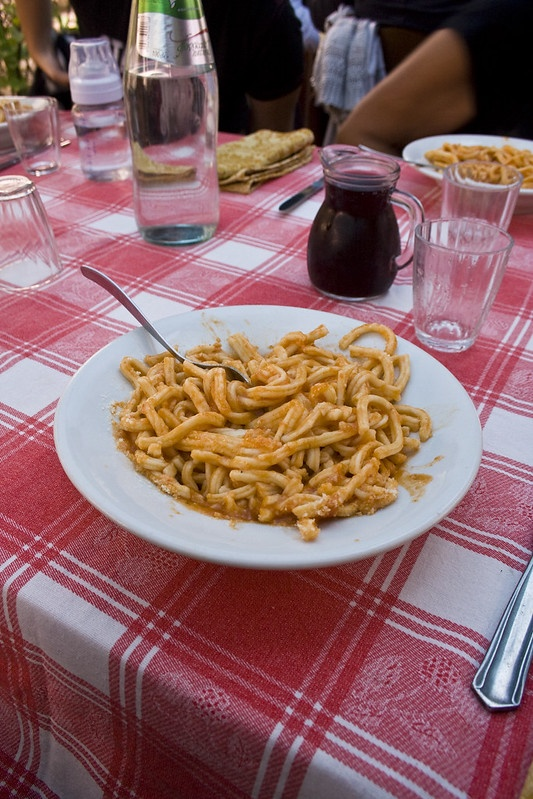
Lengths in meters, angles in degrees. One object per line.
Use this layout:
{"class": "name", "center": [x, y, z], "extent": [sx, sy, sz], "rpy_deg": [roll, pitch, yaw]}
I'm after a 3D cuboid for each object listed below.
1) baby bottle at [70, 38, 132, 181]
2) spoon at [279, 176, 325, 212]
{"class": "baby bottle", "center": [-0.315, -0.545, 1.248], "extent": [0.112, 0.245, 0.107], "rpy_deg": [1, 28, 0]}
{"class": "spoon", "center": [0.067, -0.375, 1.166], "extent": [0.031, 0.012, 0.273], "rpy_deg": [24, 32, 11]}
